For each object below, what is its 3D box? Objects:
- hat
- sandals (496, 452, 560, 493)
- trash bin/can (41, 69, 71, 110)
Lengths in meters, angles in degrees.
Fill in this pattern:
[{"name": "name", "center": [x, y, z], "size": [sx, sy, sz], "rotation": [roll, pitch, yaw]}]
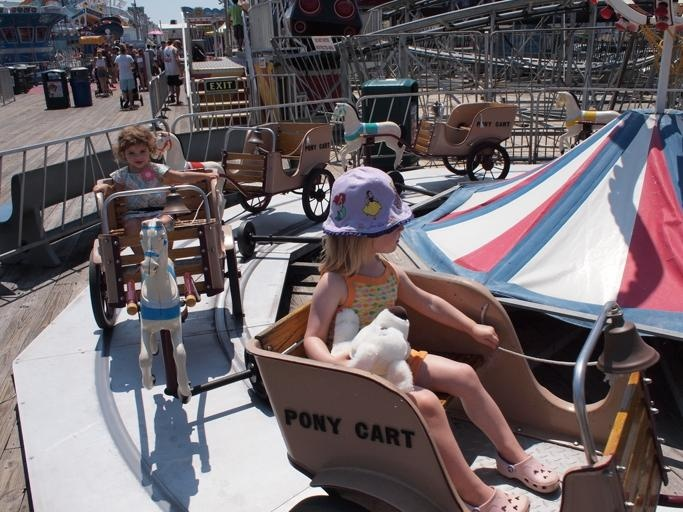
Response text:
[{"name": "hat", "center": [0.128, -0.278, 2.845], "size": [0.386, 0.244, 0.358], "rotation": [-26, 28, -28]}, {"name": "sandals", "center": [0.958, 1.102, 2.764], "size": [0.287, 0.138, 0.147], "rotation": [17, 37, 31]}, {"name": "trash bin/can", "center": [-10.332, -5.985, 19.260], "size": [0.785, 1.335, 0.653], "rotation": [-9, 20, -28]}]
